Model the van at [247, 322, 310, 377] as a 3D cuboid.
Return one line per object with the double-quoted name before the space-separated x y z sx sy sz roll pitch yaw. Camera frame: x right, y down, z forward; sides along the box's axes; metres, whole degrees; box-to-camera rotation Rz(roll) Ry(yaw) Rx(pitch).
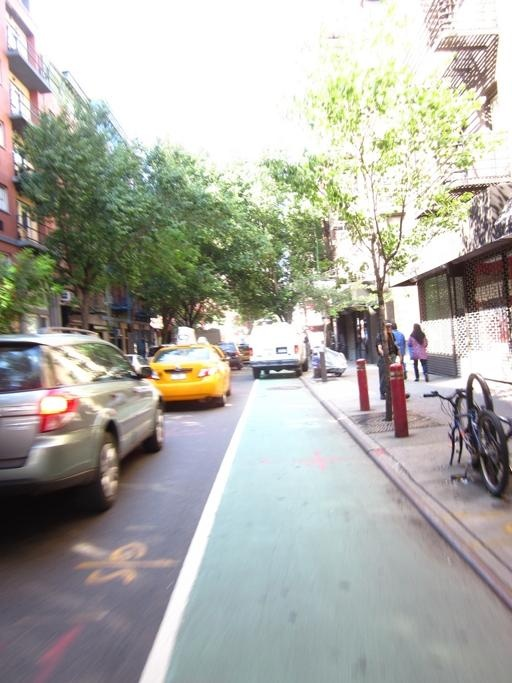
"van" 1.496 0.361 22.379 1.970 2.961 3.865 -8 -8 44
